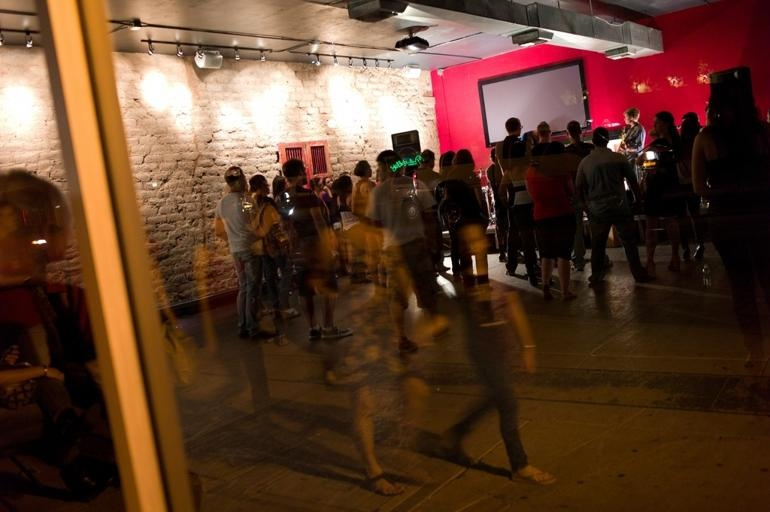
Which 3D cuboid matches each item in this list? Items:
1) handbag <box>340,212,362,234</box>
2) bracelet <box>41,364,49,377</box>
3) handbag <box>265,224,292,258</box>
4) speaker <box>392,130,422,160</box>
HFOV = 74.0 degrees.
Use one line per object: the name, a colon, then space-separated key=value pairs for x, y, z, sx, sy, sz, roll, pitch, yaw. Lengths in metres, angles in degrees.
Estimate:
handbag: x=-0.176 y=-0.161 z=2.442 sx=0.103 sy=0.093 sz=0.034 roll=0 pitch=1 yaw=22
bracelet: x=-1.018 y=0.344 z=1.523 sx=0.021 sy=0.028 sz=0.003 roll=-7 pitch=9 yaw=-11
handbag: x=-0.523 y=-0.056 z=2.595 sx=0.118 sy=0.198 sz=0.145 roll=-6 pitch=-30 yaw=-3
speaker: x=0.085 y=-0.476 z=2.174 sx=0.115 sy=0.122 sz=0.191 roll=-4 pitch=9 yaw=2
